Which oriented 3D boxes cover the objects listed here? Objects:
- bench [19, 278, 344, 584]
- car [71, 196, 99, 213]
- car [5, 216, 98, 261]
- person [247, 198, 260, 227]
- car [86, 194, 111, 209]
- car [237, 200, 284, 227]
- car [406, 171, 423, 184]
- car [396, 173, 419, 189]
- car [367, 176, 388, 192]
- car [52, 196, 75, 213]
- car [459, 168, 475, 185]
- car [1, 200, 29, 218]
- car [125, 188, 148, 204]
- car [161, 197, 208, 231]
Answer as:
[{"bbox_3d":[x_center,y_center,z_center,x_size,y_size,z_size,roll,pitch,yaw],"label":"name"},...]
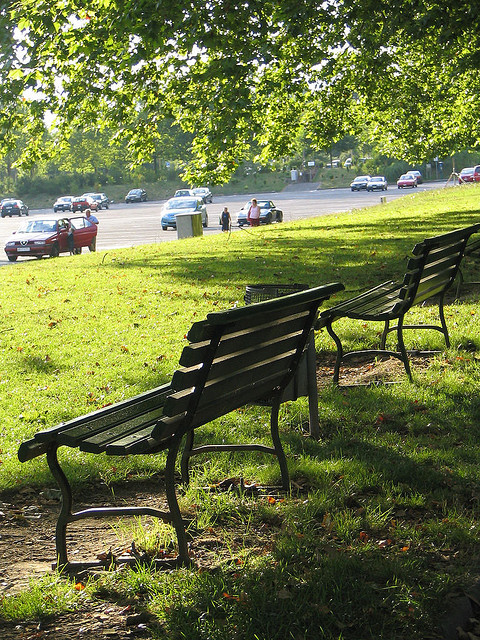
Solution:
[{"bbox_3d":[-0.307,0.438,4.084,1.626,1.218,2.088,-1,9,8],"label":"bench"},{"bbox_3d":[-12.218,-9.087,62.047,1.456,0.977,2.206,2,15,12],"label":"car"},{"bbox_3d":[-6.491,-2.835,27.059,1.404,0.932,2.833,-2,4,20],"label":"car"},{"bbox_3d":[0.531,-4.440,32.821,0.454,1.114,1.294,-3,9,1],"label":"person"},{"bbox_3d":[-11.998,-10.133,66.369,1.460,1.061,2.316,-2,2,-3],"label":"car"},{"bbox_3d":[0.916,-4.926,37.091,2.008,1.233,3.328,1,8,15],"label":"car"},{"bbox_3d":[16.348,-13.394,73.729,1.330,0.973,2.851,0,8,13],"label":"car"},{"bbox_3d":[14.858,-12.369,69.600,1.347,0.881,2.879,-1,4,18],"label":"car"},{"bbox_3d":[12.069,-12.048,69.303,1.142,0.819,2.402,-1,8,16],"label":"car"},{"bbox_3d":[-14.738,-9.605,65.393,1.427,1.160,2.914,-1,4,-6],"label":"car"},{"bbox_3d":[17.659,-11.231,61.207,1.384,1.100,2.323,1,10,28],"label":"car"},{"bbox_3d":[-18.336,-9.003,63.556,1.611,1.397,2.011,-2,9,4],"label":"car"},{"bbox_3d":[-9.884,-11.753,74.653,1.320,0.982,2.164,-3,4,10],"label":"car"},{"bbox_3d":[-2.711,-5.177,37.653,1.471,0.971,2.248,0,3,15],"label":"car"}]
